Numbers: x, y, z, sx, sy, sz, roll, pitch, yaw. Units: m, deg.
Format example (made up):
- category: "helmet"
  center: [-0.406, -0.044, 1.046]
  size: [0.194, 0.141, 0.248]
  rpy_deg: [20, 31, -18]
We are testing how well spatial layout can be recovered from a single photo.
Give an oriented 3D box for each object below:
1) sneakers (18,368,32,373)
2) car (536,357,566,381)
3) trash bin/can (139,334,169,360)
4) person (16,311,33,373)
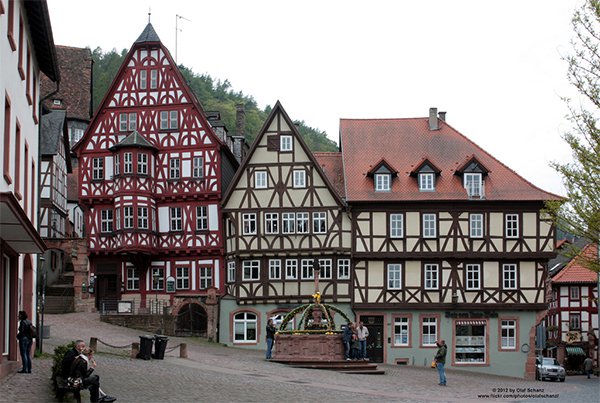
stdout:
- category: "sneakers"
  center: [-11.195, 6.910, 43.460]
  size: [0.533, 0.220, 0.177]
  rpy_deg: [4, 1, 25]
- category: "car"
  center: [15.664, 10.538, 66.787]
  size: [1.815, 1.340, 4.164]
  rpy_deg: [0, -12, 1]
- category: "trash bin/can"
  center: [-6.981, 6.866, 50.239]
  size: [1.389, 1.212, 1.001]
  rpy_deg: [2, -2, -37]
- category: "person"
  center: [-11.257, 5.787, 43.696]
  size: [0.663, 2.516, 1.325]
  rpy_deg: [4, -13, -15]
